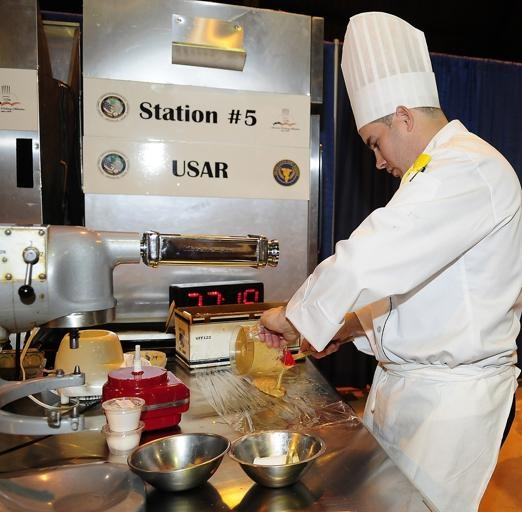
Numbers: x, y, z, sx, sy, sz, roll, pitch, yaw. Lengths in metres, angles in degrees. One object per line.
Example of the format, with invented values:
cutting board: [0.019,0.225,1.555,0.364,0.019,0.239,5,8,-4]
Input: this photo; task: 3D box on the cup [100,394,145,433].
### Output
cup: [-0.305,0.349,1.071,0.067,0.045,0.070,0,-7,0]

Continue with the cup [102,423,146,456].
cup: [-0.300,0.403,1.084,0.067,0.045,0.067,0,-3,0]

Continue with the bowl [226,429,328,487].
bowl: [0.035,0.431,1.018,0.197,0.079,0.180,2,3,0]

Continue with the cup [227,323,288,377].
cup: [-0.011,0.302,1.560,0.160,0.198,0.141,4,3,-22]
